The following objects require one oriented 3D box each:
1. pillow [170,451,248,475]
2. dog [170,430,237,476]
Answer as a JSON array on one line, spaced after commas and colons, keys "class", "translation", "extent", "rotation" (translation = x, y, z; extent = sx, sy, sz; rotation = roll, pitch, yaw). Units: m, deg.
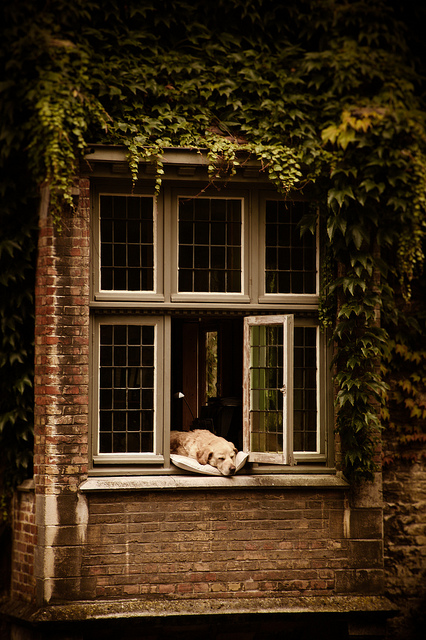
[{"class": "pillow", "translation": [-0.037, 1.110, 9.105], "extent": [0.601, 0.182, 0.245], "rotation": [1, -9, -1]}, {"class": "dog", "translation": [-0.082, 1.043, 9.304], "extent": [0.368, 0.397, 0.824], "rotation": [5, -10, -26]}]
